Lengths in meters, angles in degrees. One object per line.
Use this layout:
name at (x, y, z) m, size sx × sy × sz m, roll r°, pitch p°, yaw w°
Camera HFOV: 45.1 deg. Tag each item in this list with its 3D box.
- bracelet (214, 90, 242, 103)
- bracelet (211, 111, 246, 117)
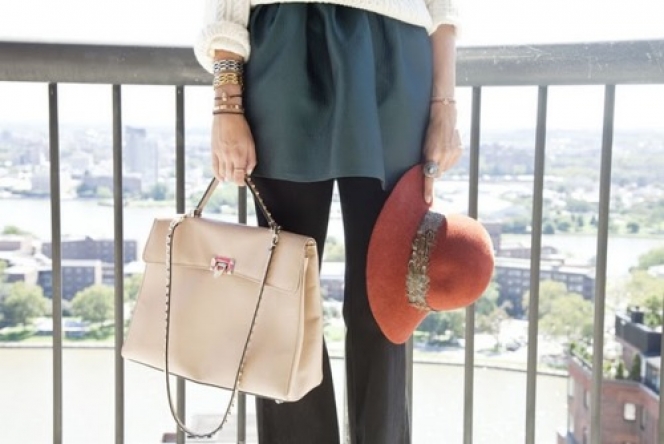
bracelet at (-1.518, -1.834, 11.707) m, size 0.399 × 0.242 × 0.039 m, roll 2°, pitch 3°, yaw -4°
bracelet at (-1.509, -1.597, 11.714) m, size 0.448 × 0.074 × 0.081 m, roll 3°, pitch 3°, yaw 9°
